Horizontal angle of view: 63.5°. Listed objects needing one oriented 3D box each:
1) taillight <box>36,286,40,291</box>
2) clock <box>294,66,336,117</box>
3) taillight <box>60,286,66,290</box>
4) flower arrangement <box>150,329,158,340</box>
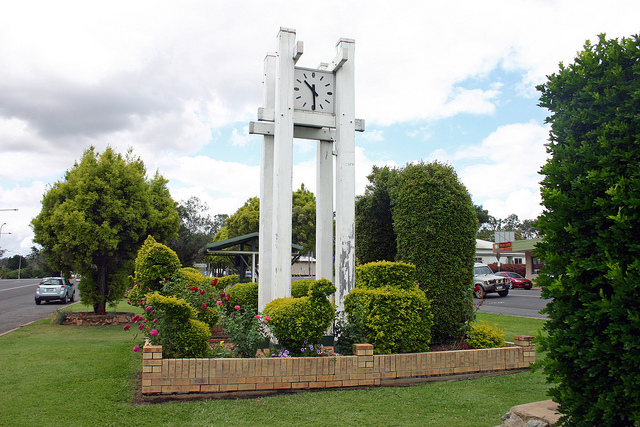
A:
[{"bbox_3d":[-15.273,4.061,28.100,0.167,0.319,0.173,5,-13,-25],"label":"taillight"},{"bbox_3d":[-0.137,-3.052,13.141,1.078,1.252,0.176,2,-7,-11],"label":"clock"},{"bbox_3d":[-14.189,4.072,28.530,0.165,0.144,0.284,-2,-21,-25],"label":"taillight"},{"bbox_3d":[-3.036,2.199,9.470,0.137,0.164,0.142,1,1,27],"label":"flower arrangement"}]
